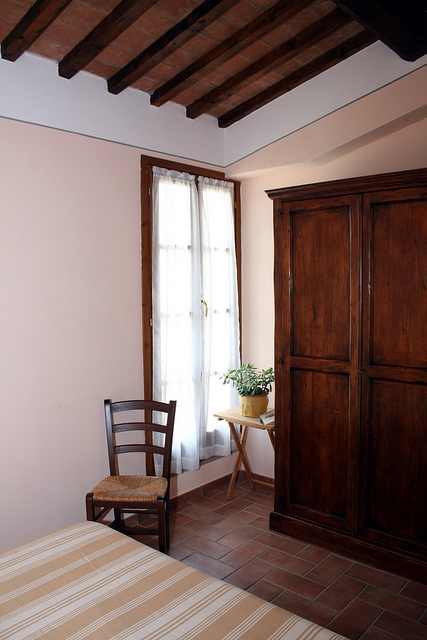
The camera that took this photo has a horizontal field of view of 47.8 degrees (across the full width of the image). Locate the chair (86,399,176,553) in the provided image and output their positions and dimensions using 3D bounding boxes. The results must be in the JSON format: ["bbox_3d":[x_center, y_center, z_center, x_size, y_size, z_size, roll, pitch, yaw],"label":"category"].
[{"bbox_3d":[-0.440,0.909,2.618,0.509,0.878,0.507,0,2,-25],"label":"chair"}]

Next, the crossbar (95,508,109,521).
[{"bbox_3d":[-0.590,1.015,2.520,0.052,0.013,0.008,-46,24,-16],"label":"crossbar"}]

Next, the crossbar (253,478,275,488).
[{"bbox_3d":[0.375,1.243,3.657,0.144,0.038,0.198,2,-6,-1],"label":"crossbar"}]

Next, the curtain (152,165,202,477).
[{"bbox_3d":[-0.256,0.012,3.327,0.187,2.096,0.673,-1,-6,24],"label":"curtain"}]

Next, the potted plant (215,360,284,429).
[{"bbox_3d":[0.262,0.517,3.418,0.307,0.341,0.274,2,-1,15],"label":"potted plant"}]

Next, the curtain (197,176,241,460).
[{"bbox_3d":[0.025,-0.015,3.687,0.201,2.152,0.660,-1,-6,24],"label":"curtain"}]

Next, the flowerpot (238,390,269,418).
[{"bbox_3d":[0.282,0.592,3.389,0.157,0.131,0.167,0,-3,3],"label":"flowerpot"}]
